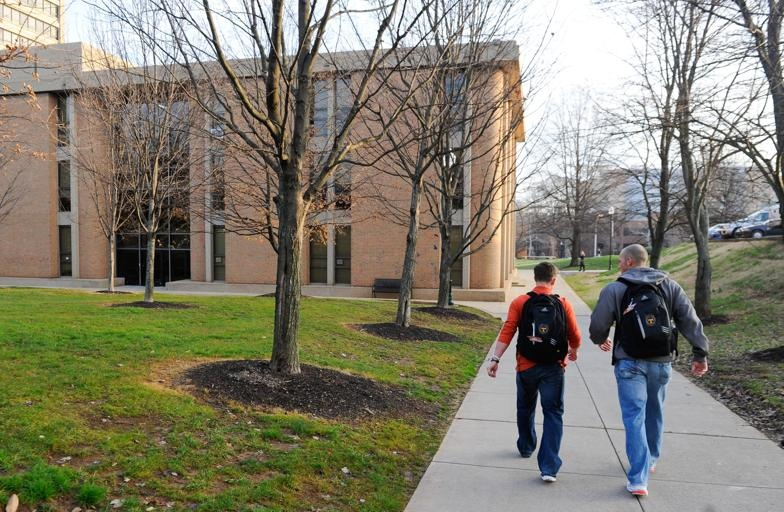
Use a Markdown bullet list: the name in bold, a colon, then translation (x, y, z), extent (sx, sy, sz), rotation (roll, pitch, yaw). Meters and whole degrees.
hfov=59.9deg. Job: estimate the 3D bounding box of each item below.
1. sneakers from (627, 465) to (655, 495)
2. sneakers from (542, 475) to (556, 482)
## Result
- **sneakers**: translation (3.771, 3.432, 10.401), extent (0.250, 0.277, 0.619), rotation (0, 2, 11)
- **sneakers**: translation (2.394, 3.401, 10.387), extent (0.207, 0.086, 0.084), rotation (-5, -5, 41)
